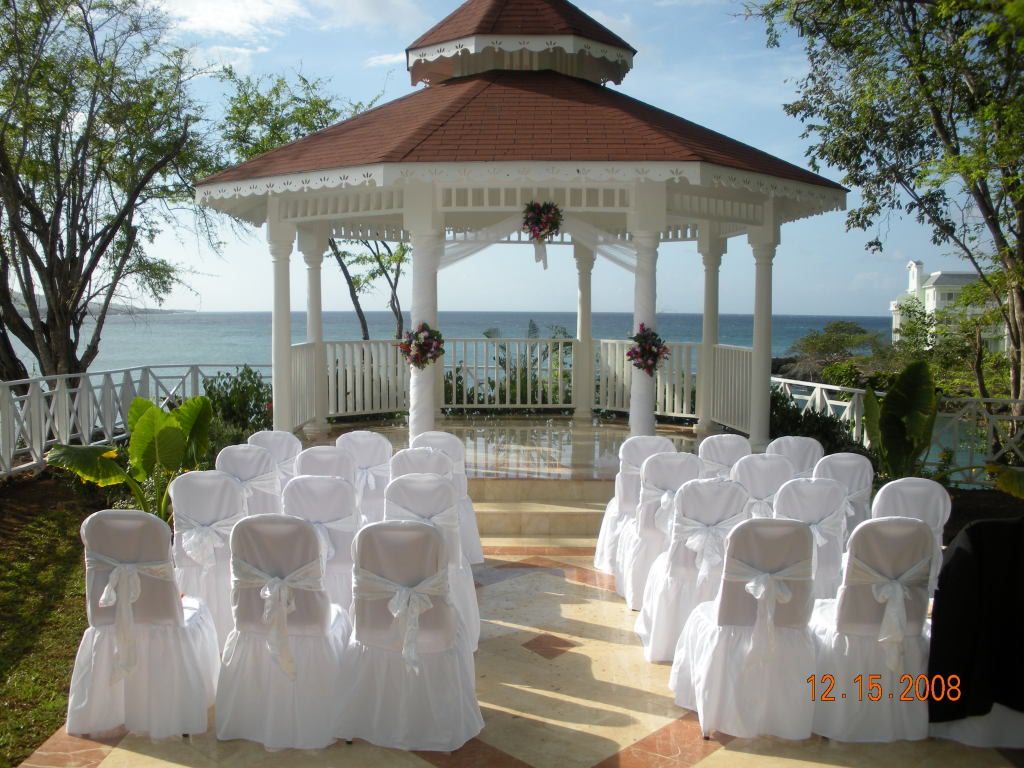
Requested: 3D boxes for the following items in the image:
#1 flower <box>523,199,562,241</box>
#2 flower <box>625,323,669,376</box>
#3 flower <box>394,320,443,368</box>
[{"bbox_3d":[0.333,-1.950,10.689,0.389,0.480,0.278,-12,24,-3],"label":"flower"},{"bbox_3d":[1.510,-0.402,10.633,0.480,0.564,0.203,18,5,-2],"label":"flower"},{"bbox_3d":[-1.052,-0.475,10.552,0.432,0.526,0.240,-2,7,-11],"label":"flower"}]
